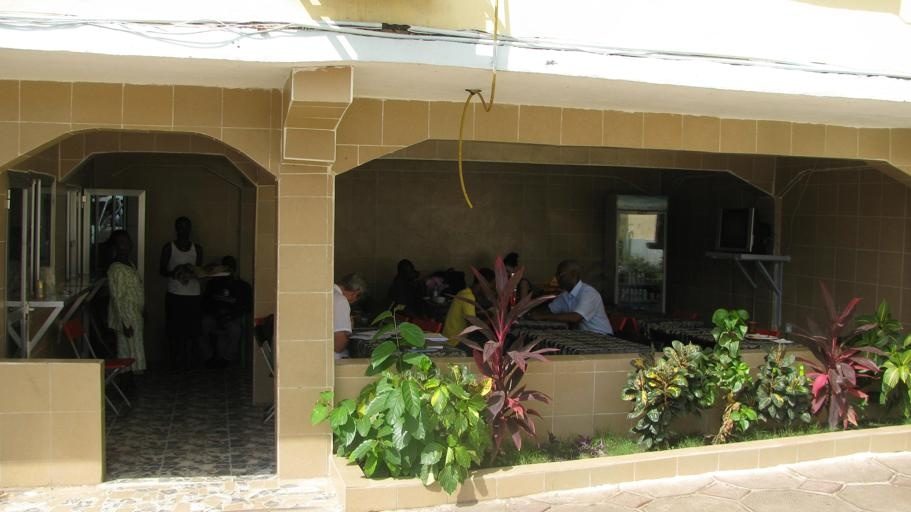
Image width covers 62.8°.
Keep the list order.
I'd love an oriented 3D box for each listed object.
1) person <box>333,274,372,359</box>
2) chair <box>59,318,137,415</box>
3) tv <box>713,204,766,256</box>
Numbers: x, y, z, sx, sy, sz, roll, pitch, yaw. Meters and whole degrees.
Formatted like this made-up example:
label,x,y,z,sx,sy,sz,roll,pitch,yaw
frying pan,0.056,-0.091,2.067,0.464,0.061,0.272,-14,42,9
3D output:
label,x,y,z,sx,sy,sz,roll,pitch,yaw
person,-1.445,0.832,10.253,0.457,1.053,0.786,-6,13,0
chair,-5.510,1.658,11.591,1.091,1.191,0.764,6,1,-17
tv,5.389,-0.464,13.963,0.921,0.754,0.919,2,1,-8
